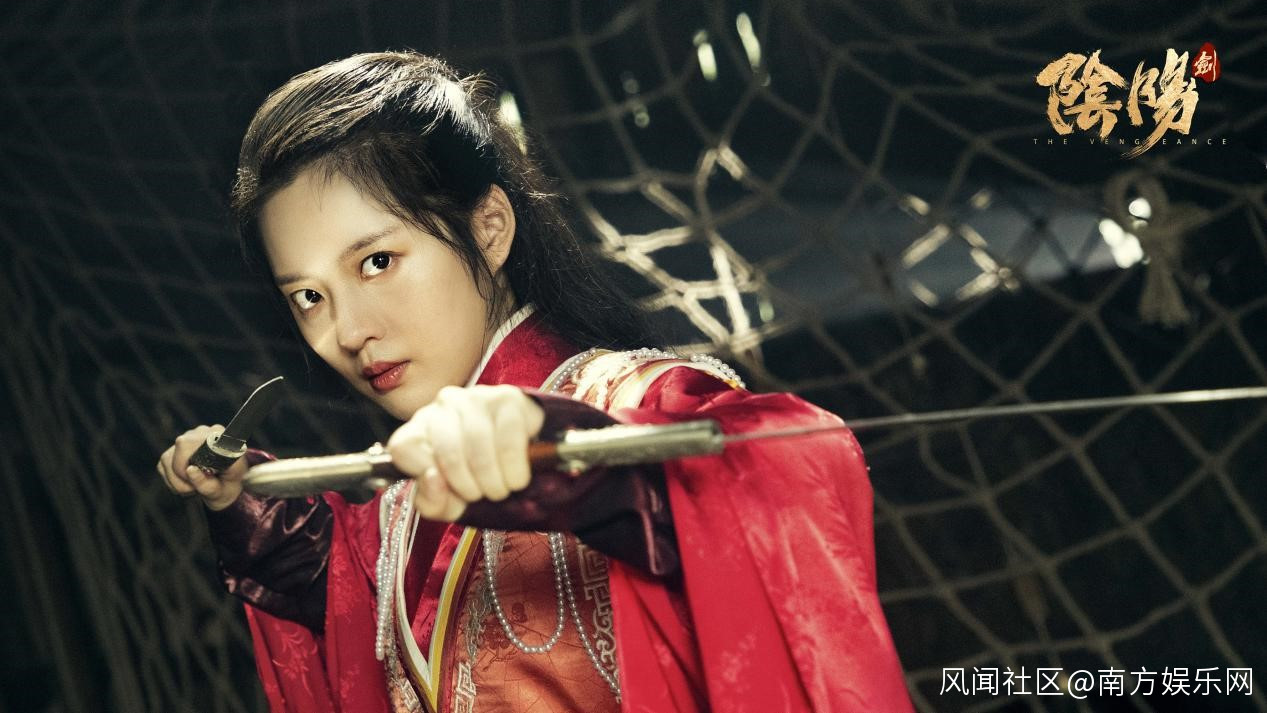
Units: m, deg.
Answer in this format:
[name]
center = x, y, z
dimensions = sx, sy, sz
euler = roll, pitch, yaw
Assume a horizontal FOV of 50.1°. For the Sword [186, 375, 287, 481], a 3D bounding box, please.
[Sword]
center = -0.824, 0.191, 2.702
dimensions = 0.078, 0.084, 0.512
euler = -20, -14, -41
